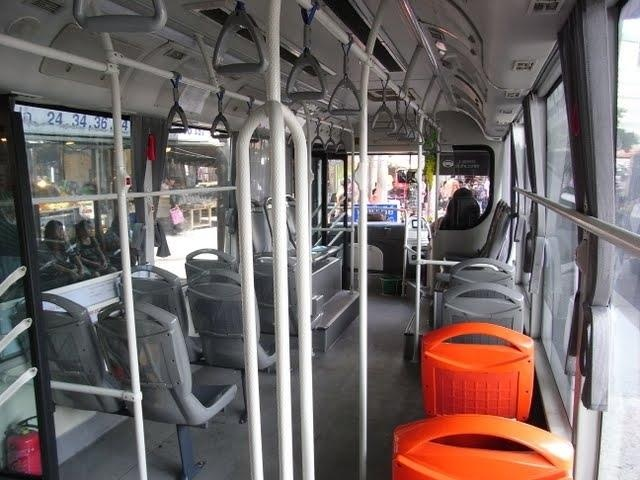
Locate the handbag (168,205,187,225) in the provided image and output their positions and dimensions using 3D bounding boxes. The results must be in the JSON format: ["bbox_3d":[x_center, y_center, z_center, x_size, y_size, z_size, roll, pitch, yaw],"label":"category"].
[{"bbox_3d":[-1.800,-0.311,5.664,0.073,0.247,0.190,10,17,29],"label":"handbag"}]

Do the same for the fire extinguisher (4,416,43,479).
[{"bbox_3d":[-1.840,1.259,2.788,0.314,0.399,0.031,2,6,22],"label":"fire extinguisher"}]
